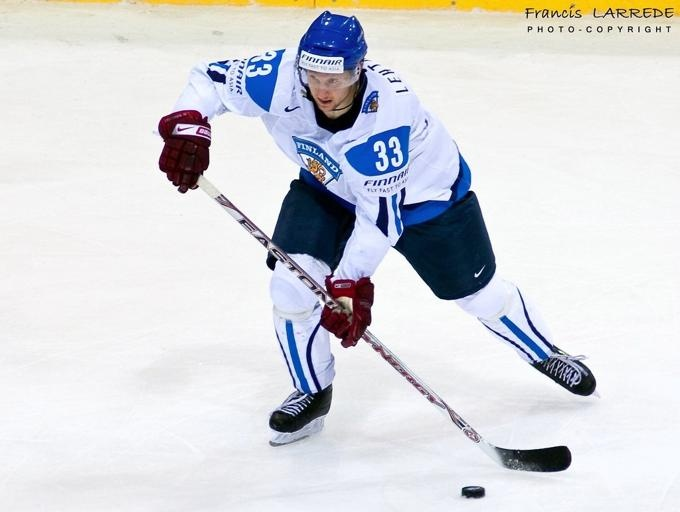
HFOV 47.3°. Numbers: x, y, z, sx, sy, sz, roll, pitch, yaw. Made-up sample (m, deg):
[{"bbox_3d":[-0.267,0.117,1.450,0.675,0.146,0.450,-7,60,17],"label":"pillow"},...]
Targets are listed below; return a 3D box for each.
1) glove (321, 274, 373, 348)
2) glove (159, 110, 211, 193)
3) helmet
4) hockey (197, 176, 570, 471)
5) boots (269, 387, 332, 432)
[{"bbox_3d":[0.027,0.214,3.136,0.264,0.094,0.251,23,37,-7],"label":"glove"},{"bbox_3d":[-0.622,-0.419,3.129,0.203,0.300,0.250,-3,21,-9],"label":"glove"},{"bbox_3d":[0.002,-0.808,2.998,0.258,0.306,0.278,12,58,12],"label":"helmet"},{"bbox_3d":[0.195,0.373,3.645,1.626,0.110,0.461,41,3,-6],"label":"hockey"},{"bbox_3d":[-0.157,0.678,3.484,0.117,0.141,0.367,4,10,36],"label":"boots"}]
